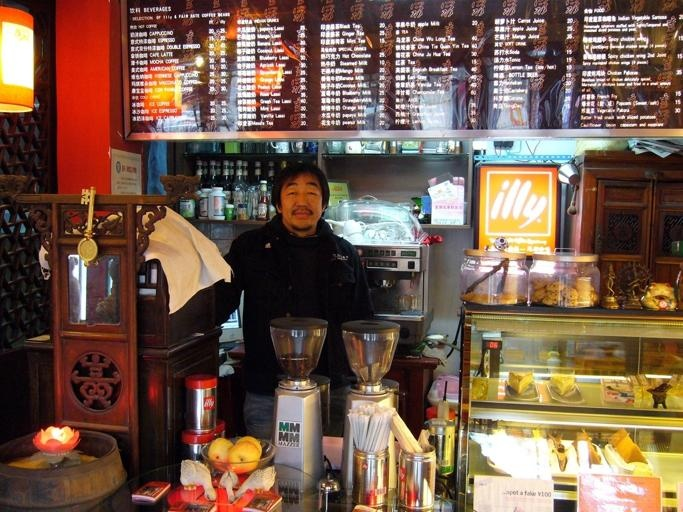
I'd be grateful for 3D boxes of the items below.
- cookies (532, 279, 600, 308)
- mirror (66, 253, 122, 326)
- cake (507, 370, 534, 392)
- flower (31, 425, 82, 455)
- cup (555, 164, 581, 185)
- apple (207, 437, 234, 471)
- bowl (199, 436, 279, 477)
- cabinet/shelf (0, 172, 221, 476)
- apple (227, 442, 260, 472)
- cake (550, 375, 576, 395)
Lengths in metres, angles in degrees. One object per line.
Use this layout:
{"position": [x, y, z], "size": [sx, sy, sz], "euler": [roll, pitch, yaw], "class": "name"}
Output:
{"position": [0.822, 0.113, 2.136], "size": [0.138, 0.083, 0.137], "euler": [0, 4, -18], "class": "cookies"}
{"position": [-0.875, 0.112, 2.078], "size": [0.252, 0.356, 0.036], "euler": [1, -3, -4], "class": "mirror"}
{"position": [0.669, 0.464, 2.177], "size": [0.085, 0.068, 0.075], "euler": [4, -4, -43], "class": "cake"}
{"position": [-0.946, 0.614, 1.975], "size": [0.130, 0.092, 0.171], "euler": [-1, 5, -8], "class": "flower"}
{"position": [1.410, -0.499, 3.634], "size": [0.144, 0.129, 0.148], "euler": [-3, 27, 2], "class": "cup"}
{"position": [-0.385, 0.628, 1.856], "size": [0.075, 0.074, 0.079], "euler": [20, 39, -12], "class": "apple"}
{"position": [-0.334, 0.651, 1.903], "size": [0.228, 0.108, 0.223], "euler": [3, 2, 0], "class": "bowl"}
{"position": [-0.836, 0.235, 2.141], "size": [0.680, 1.054, 0.320], "euler": [-1, 4, -8], "class": "cabinet/shelf"}
{"position": [-0.301, 0.630, 1.827], "size": [0.082, 0.090, 0.104], "euler": [-13, -4, -4], "class": "apple"}
{"position": [0.831, 0.473, 2.171], "size": [0.072, 0.076, 0.078], "euler": [-5, -5, 28], "class": "cake"}
